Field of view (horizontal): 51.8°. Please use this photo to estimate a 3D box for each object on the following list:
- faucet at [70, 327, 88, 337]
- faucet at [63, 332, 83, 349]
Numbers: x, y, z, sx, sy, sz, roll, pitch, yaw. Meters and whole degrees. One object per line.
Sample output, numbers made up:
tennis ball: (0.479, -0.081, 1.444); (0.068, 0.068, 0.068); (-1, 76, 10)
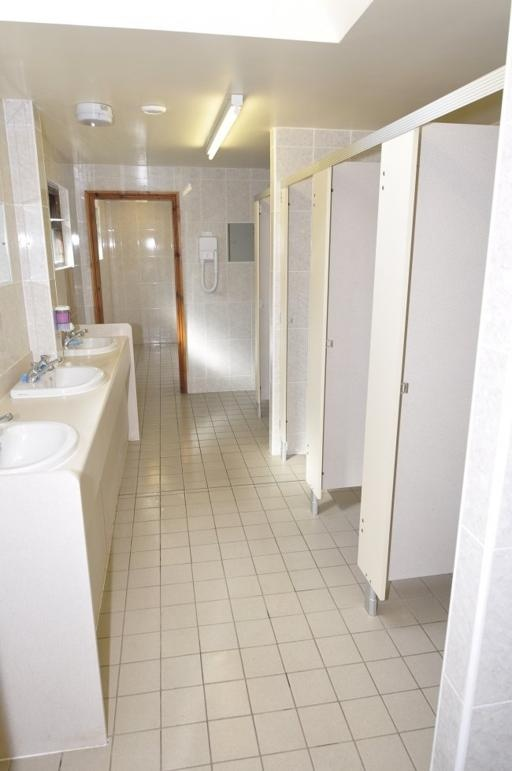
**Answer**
faucet: (-1.253, -0.385, 3.732); (0.109, 0.053, 0.147); (11, 14, 43)
faucet: (-1.232, -0.311, 3.542); (0.087, 0.122, 0.317); (-1, 8, -20)
